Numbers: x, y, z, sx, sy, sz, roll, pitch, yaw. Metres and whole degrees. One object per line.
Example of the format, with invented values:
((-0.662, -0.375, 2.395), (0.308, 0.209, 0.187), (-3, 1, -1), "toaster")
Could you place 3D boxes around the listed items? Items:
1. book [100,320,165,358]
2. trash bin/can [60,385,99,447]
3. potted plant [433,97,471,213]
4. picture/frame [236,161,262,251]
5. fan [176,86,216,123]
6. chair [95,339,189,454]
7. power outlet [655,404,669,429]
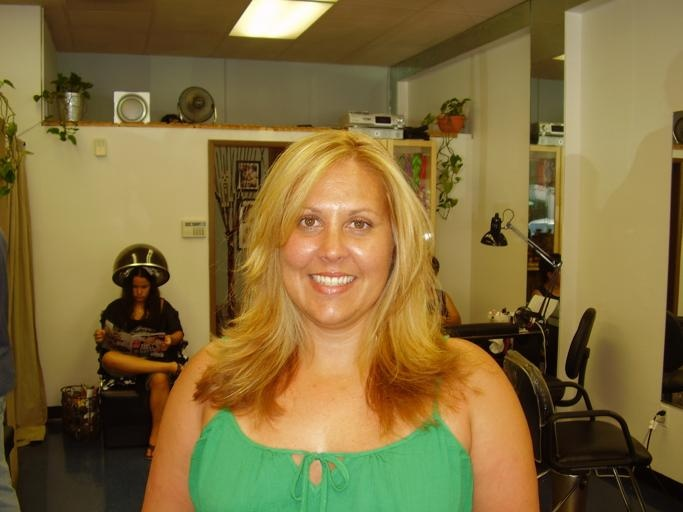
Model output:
((-1.693, 0.595, 4.639), (0.500, 0.184, 0.390), (11, 19, -16), "book")
((-2.170, 1.290, 4.862), (0.309, 0.380, 0.326), (-2, 12, -18), "trash bin/can")
((1.227, -1.173, 6.359), (0.340, 0.979, 0.296), (7, 11, 21), "potted plant")
((-0.974, -0.536, 6.042), (0.209, 0.990, 0.031), (-1, -16, -2), "picture/frame")
((-1.361, -1.391, 5.390), (0.321, 0.331, 0.177), (-3, 7, -19), "fan")
((-1.621, 0.816, 4.890), (0.722, 0.966, 1.381), (1, -1, -15), "chair")
((2.213, 1.096, 3.941), (0.023, 0.169, 0.092), (-3, 7, -19), "power outlet")
